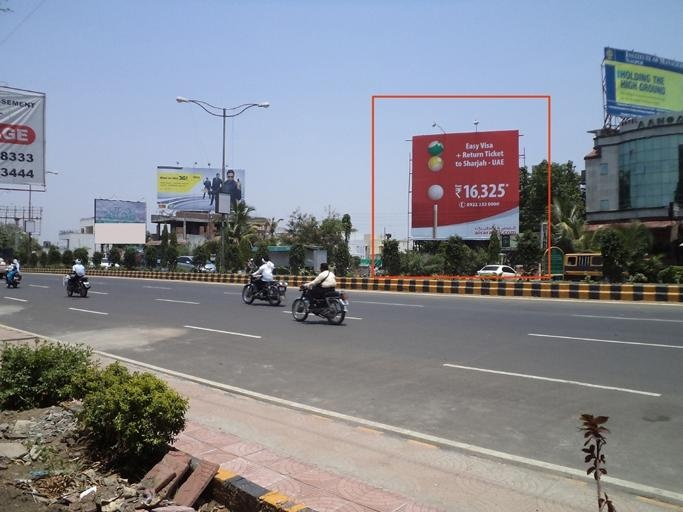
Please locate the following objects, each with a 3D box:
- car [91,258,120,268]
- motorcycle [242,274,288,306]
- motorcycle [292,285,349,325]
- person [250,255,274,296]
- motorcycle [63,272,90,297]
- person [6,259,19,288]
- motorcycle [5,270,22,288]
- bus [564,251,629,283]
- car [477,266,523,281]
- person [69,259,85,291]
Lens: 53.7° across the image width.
[{"bbox_3d":[-24.137,0.757,69.038,2.133,1.237,1.278,-2,-1,30],"label":"car"},{"bbox_3d":[-2.595,1.164,23.066,1.499,1.124,0.819,3,2,42],"label":"motorcycle"},{"bbox_3d":[-0.438,1.316,18.223,1.523,1.068,0.767,3,1,40],"label":"motorcycle"},{"bbox_3d":[-2.663,0.706,22.734,0.731,1.068,1.120,-1,6,-9],"label":"person"},{"bbox_3d":[-10.237,1.146,26.407,0.667,1.013,1.536,3,2,-44],"label":"motorcycle"},{"bbox_3d":[-15.973,0.825,33.135,0.579,1.015,1.563,0,11,-25],"label":"person"},{"bbox_3d":[-15.995,1.191,33.067,0.575,0.877,1.325,0,4,-36],"label":"motorcycle"},{"bbox_3d":[12.900,0.589,35.648,1.589,1.766,5.377,1,6,9],"label":"bus"},{"bbox_3d":[8.883,0.942,38.277,2.610,0.967,1.247,-4,7,-44],"label":"car"},{"bbox_3d":[-10.363,0.849,26.433,0.731,1.264,1.845,-3,7,-23],"label":"person"}]
